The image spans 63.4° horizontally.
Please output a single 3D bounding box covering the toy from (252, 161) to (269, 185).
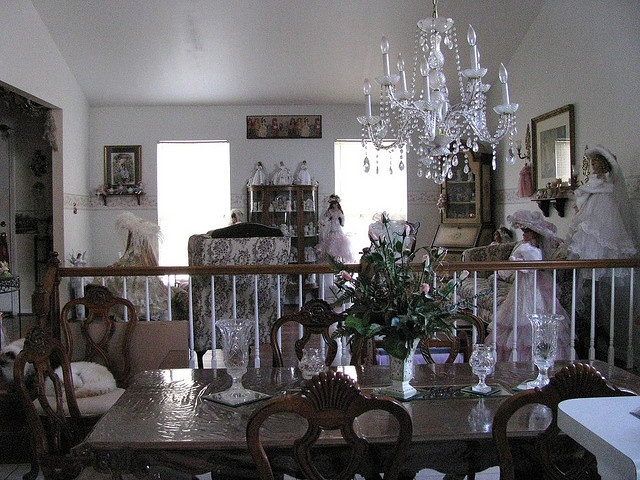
[{"bbox_3d":[-0.923,-1.041,8.004,0.229,0.400,0.458,-1,4,12],"label":"toy"}]

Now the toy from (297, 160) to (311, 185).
[{"bbox_3d":[-0.240,-1.057,8.070,0.226,0.421,0.450,-2,4,6],"label":"toy"}]

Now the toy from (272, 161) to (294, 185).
[{"bbox_3d":[-0.573,-1.037,7.984,0.305,0.363,0.300,-2,4,-2],"label":"toy"}]

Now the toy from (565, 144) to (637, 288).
[{"bbox_3d":[2.572,-0.351,4.717,0.581,1.014,0.507,-1,4,25],"label":"toy"}]

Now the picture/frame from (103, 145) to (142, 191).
[{"bbox_3d":[-3.120,-1.134,8.130,0.633,0.856,0.034,0,2,-4],"label":"picture/frame"}]

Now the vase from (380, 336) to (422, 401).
[{"bbox_3d":[0.379,0.647,2.625,0.239,0.367,0.236,-1,-1,30],"label":"vase"}]

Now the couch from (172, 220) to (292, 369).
[{"bbox_3d":[-0.702,0.465,4.986,1.039,1.637,1.067,-1,-1,-16],"label":"couch"}]

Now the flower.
[{"bbox_3d":[0.458,0.275,2.793,0.855,0.842,0.907,11,9,17],"label":"flower"}]
